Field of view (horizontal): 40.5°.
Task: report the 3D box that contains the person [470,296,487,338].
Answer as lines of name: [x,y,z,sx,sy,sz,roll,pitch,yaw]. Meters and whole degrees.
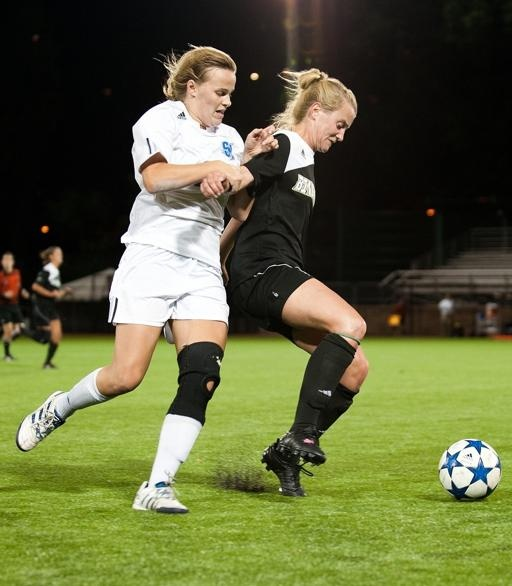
person: [7.358,0.912,22.553,0.509,1.045,0.692,5,-1,-3]

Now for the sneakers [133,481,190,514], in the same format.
sneakers: [-0.349,0.746,2.528,0.229,0.080,0.093,-2,-11,32]

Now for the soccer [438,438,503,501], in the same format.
soccer: [0.901,0.747,2.934,0.275,0.211,0.244,-2,8,21]

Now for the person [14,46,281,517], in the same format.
person: [-0.341,-0.081,2.886,0.857,1.996,1.079,0,9,-27]

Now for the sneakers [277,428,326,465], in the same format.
sneakers: [0.171,0.601,2.775,0.126,0.081,0.251,-42,28,-27]

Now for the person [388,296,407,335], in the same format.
person: [5.042,0.903,24.962,0.566,1.315,0.958,4,7,-1]
